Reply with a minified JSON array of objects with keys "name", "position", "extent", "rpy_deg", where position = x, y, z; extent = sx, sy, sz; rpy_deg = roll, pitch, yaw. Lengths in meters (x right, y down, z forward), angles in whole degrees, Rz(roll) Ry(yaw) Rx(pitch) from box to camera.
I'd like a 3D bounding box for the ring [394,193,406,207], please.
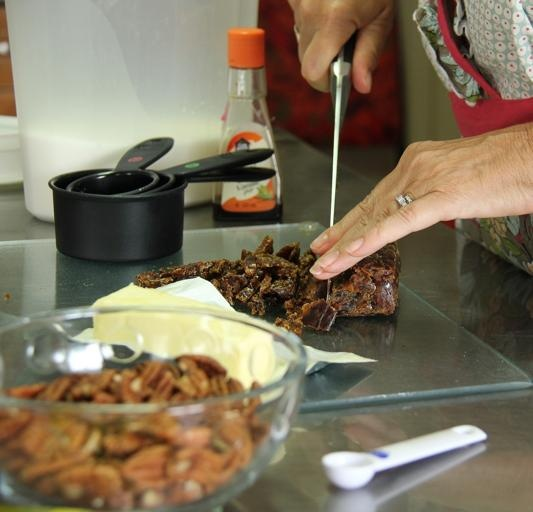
[{"name":"ring","position":[0.167,-0.069,0.689],"extent":[0.013,0.015,0.005],"rpy_deg":[-24,-20,16]}]
